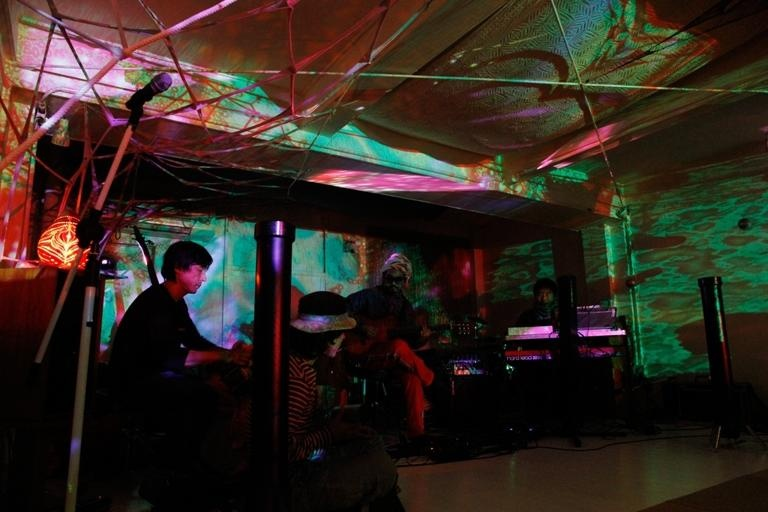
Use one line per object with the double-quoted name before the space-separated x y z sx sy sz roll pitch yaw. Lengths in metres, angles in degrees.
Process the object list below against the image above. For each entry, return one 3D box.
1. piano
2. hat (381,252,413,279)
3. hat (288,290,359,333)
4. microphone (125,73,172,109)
"piano" 1.832 0.892 6.182 1.244 0.399 0.724 -1 -1 9
"hat" 0.166 0.119 7.079 0.381 0.277 0.257 11 -16 -17
"hat" -0.382 0.349 4.054 0.337 0.117 0.329 0 -1 34
"microphone" -1.248 -0.887 3.390 0.244 0.154 0.392 -4 -9 -20
